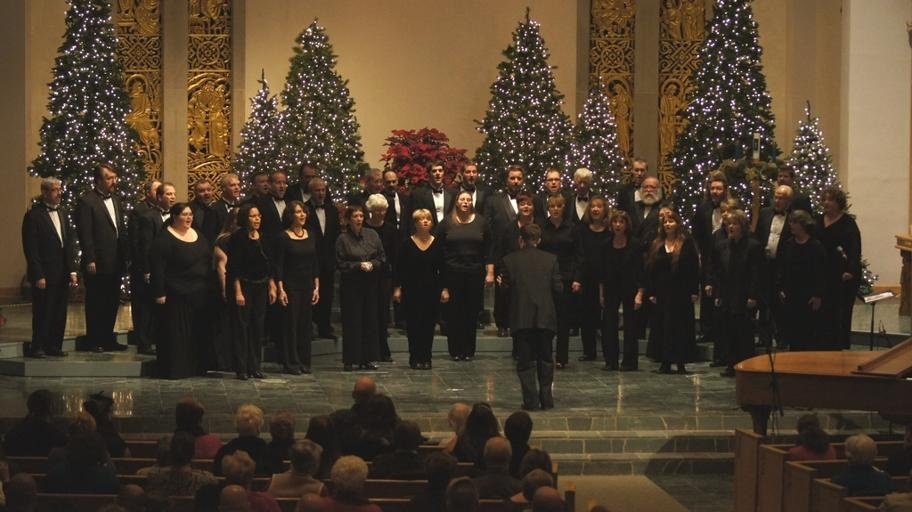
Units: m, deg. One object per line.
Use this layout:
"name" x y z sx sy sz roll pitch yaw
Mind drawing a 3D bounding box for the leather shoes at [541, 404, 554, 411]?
"leather shoes" 1.331 2.163 15.462 0.181 0.088 0.090 -1 -9 -9

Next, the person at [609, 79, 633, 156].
"person" 3.763 -3.107 24.372 0.564 1.821 0.227 -4 -10 8

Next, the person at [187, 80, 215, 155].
"person" -5.807 -3.187 24.705 0.643 1.630 0.329 -2 -10 -6

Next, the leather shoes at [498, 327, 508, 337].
"leather shoes" 0.831 1.331 18.851 0.201 0.080 0.241 0 1 3

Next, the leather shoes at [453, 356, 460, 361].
"leather shoes" 0.018 1.704 18.031 0.108 0.041 0.128 1 0 6

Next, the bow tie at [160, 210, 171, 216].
"bow tie" -4.719 -0.693 17.547 0.131 0.026 0.116 6 -9 -37

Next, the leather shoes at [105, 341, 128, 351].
"leather shoes" -5.588 1.496 17.769 0.383 0.220 0.121 -9 -7 27

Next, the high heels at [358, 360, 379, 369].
"high heels" -1.398 1.757 17.289 0.366 0.125 0.112 4 -2 -11

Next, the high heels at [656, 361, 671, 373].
"high heels" 3.357 1.812 17.407 0.199 0.178 0.217 1 2 34

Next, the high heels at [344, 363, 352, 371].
"high heels" -1.702 1.780 17.201 0.157 0.123 0.103 1 2 2

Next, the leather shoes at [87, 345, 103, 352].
"leather shoes" -5.881 1.525 17.652 0.282 0.103 0.087 5 -1 14

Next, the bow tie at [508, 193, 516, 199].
"bow tie" 0.972 -1.039 18.681 0.099 0.083 0.094 4 4 26

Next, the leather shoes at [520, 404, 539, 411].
"leather shoes" 1.071 2.163 15.466 0.270 0.097 0.128 -2 -9 2
